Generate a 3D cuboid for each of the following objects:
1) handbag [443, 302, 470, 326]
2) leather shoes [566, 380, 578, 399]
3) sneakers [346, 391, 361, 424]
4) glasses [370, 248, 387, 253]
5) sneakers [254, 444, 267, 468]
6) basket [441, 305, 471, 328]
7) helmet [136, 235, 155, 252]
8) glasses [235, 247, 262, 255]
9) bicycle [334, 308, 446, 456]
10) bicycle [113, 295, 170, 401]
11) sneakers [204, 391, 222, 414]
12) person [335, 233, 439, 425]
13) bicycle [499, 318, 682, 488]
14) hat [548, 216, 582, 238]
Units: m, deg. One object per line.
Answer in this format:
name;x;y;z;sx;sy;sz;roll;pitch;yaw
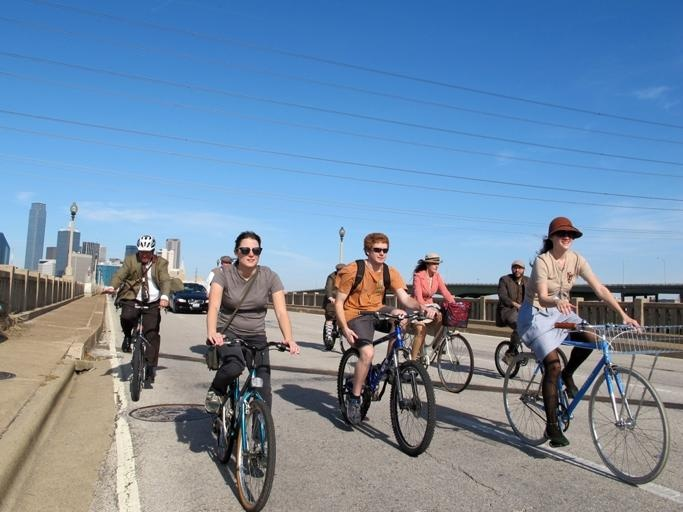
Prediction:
handbag;1.861;0.959;7.426;0.391;0.423;0.449;1;-4;14
leather shoes;2.399;1.403;4.771;0.126;0.169;0.054;-24;-45;32
sneakers;0.129;1.832;5.462;0.170;0.400;0.135;-13;-15;42
glasses;0.479;-0.064;5.410;0.218;0.062;0.113;-1;-5;41
sneakers;-0.626;1.563;3.564;0.074;0.202;0.192;3;-18;-16
basket;1.849;0.956;7.462;0.556;0.497;0.333;-1;-5;8
helmet;-2.742;-0.168;6.418;0.221;0.297;0.228;8;-36;-13
glasses;-0.872;-0.044;4.384;0.292;0.077;0.113;1;-4;22
bicycle;0.516;1.368;5.127;0.567;1.449;1.716;3;-4;-18
bicycle;-3.114;1.429;7.005;0.608;1.478;1.203;4;-4;-33
sneakers;-1.232;1.427;4.389;0.110;0.123;0.294;6;-3;-11
person;0.462;0.785;5.397;1.386;2.119;1.077;11;17;41
bicycle;2.460;1.368;4.562;0.526;1.439;1.643;4;-4;-24
hat;2.315;-0.297;4.768;0.304;0.200;0.291;0;-4;29
